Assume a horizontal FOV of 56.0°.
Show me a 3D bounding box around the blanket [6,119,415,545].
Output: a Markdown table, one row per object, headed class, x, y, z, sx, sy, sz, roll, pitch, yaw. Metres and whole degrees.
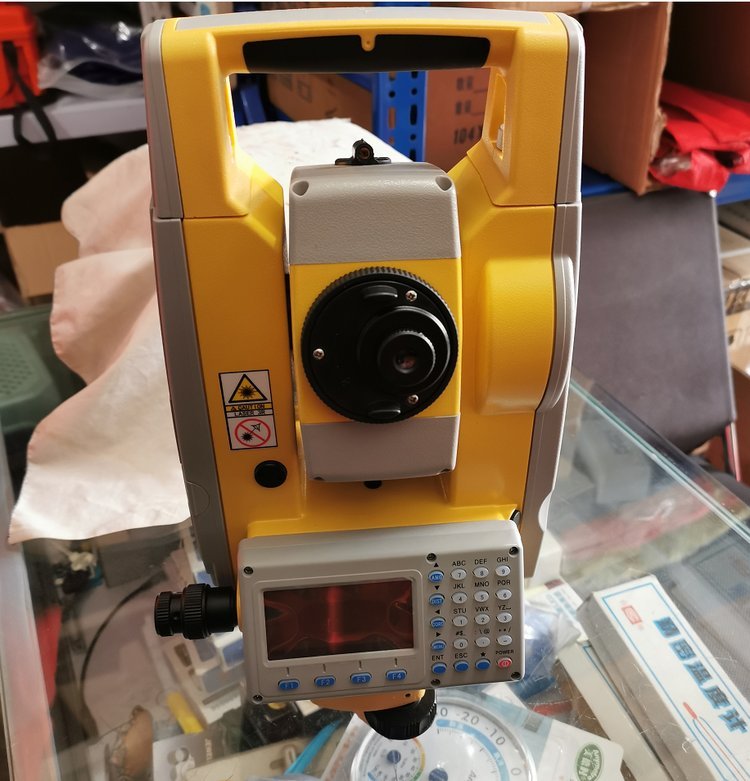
| class | x | y | z | sx | sy | sz | roll | pitch | yaw |
| --- | --- | --- | --- | --- | --- | --- | --- | --- | --- |
| blanket | -0.211 | -0.075 | 1.076 | 0.499 | 0.562 | 0.204 | -3 | -9 | 41 |
